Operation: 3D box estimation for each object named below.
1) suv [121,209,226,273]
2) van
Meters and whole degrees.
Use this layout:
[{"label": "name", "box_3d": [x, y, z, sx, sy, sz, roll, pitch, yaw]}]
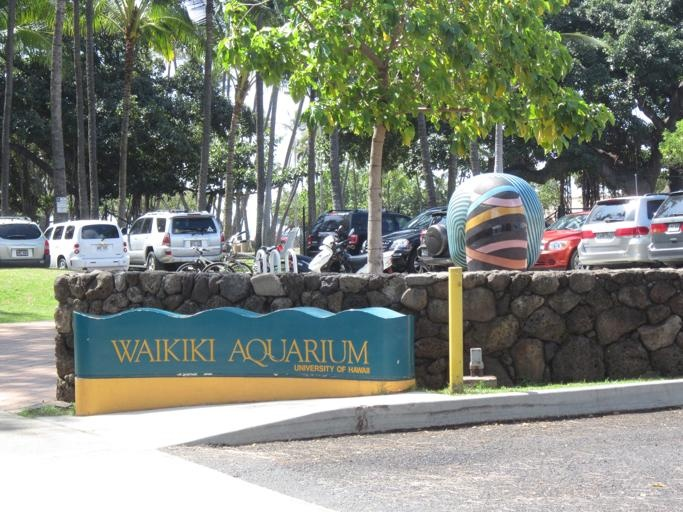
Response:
[{"label": "suv", "box_3d": [-4.915, -0.476, 30.022, 1.401, 1.186, 2.604, -2, 7, -28]}, {"label": "van", "box_3d": [-7.583, -0.382, 31.234, 1.505, 1.367, 2.964, -1, 6, -27]}]
